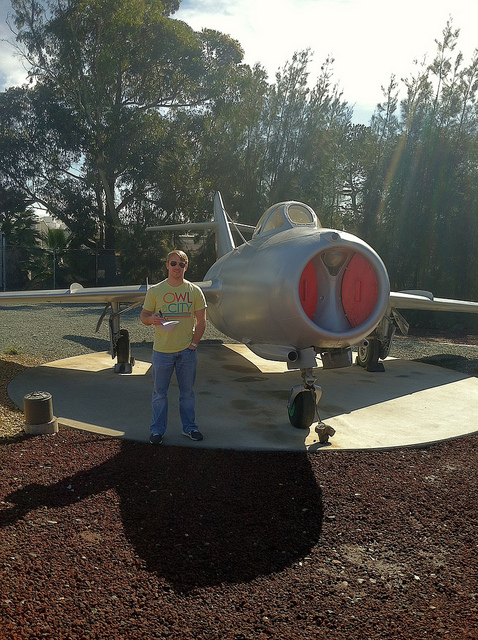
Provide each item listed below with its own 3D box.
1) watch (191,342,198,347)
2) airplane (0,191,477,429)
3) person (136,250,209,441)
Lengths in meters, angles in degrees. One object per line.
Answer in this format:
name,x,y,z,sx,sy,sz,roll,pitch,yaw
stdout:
watch,-0.453,0.230,4.963,0.058,0.026,0.072,14,0,2
airplane,-0.363,-0.428,8.247,5.829,2.878,5.433,3,6,21
person,-0.659,0.276,5.010,0.664,1.965,0.548,0,6,-10
